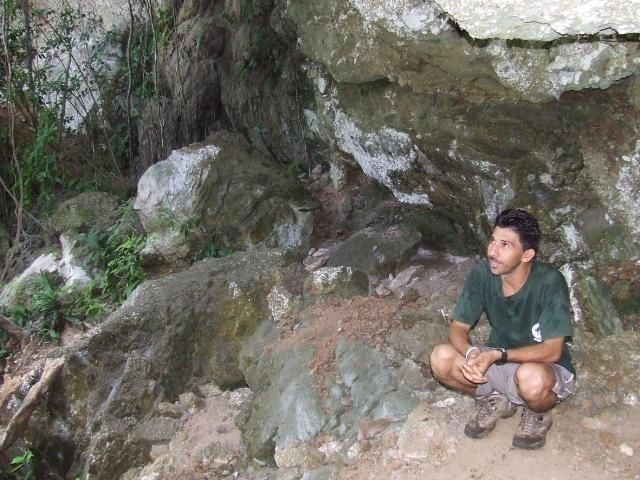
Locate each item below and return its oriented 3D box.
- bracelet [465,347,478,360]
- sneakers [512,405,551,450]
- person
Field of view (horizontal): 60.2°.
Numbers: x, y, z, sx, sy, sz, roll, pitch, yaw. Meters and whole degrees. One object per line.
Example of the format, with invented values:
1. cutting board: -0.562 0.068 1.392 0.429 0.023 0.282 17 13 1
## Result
1. bracelet: 1.276 0.945 4.676 0.100 0.043 0.074 -43 34 -11
2. sneakers: 1.710 1.548 4.491 0.198 0.268 0.385 13 48 48
3. person: 1.602 0.732 4.771 0.888 1.944 0.948 6 14 37
